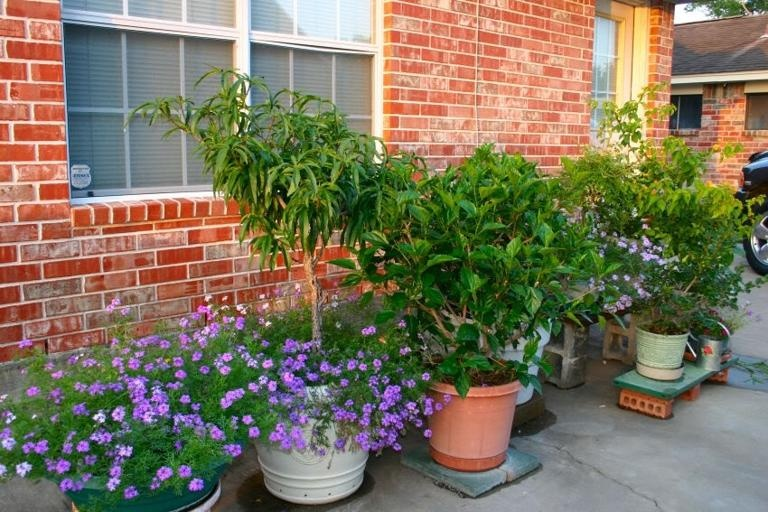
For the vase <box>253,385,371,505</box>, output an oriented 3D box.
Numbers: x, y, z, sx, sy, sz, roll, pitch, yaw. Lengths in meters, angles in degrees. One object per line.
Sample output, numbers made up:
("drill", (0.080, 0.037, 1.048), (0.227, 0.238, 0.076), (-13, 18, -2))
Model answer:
("vase", (-0.442, 1.106, 3.420), (0.639, 0.693, 0.728), (1, 0, -4))
